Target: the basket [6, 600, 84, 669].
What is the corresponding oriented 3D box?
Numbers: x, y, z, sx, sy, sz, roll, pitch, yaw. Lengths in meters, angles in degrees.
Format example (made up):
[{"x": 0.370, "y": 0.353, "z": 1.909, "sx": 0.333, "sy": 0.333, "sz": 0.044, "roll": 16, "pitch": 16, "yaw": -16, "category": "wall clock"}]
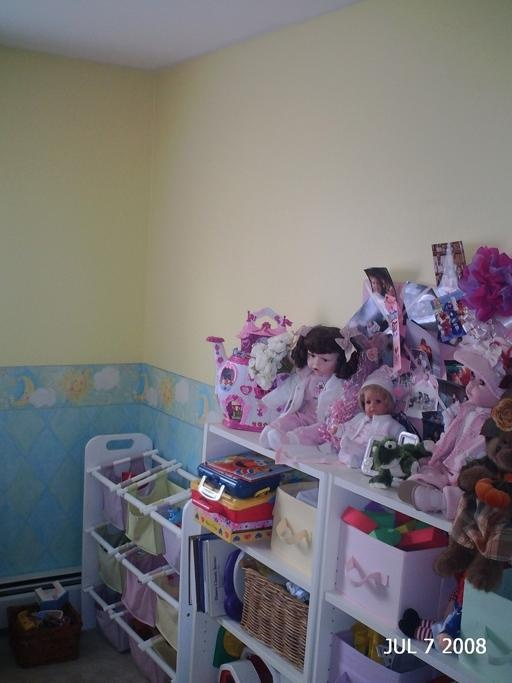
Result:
[{"x": -0.887, "y": 1.198, "z": 2.135, "sx": 0.228, "sy": 0.146, "sz": 0.229, "roll": 1, "pitch": -1, "yaw": -29, "category": "basket"}]
